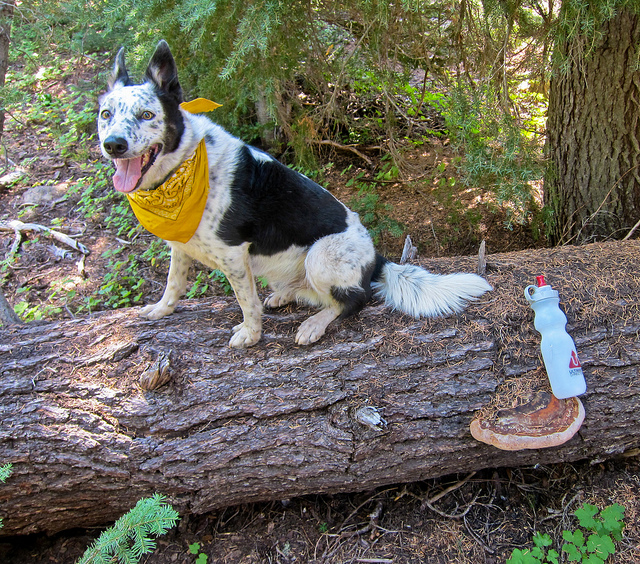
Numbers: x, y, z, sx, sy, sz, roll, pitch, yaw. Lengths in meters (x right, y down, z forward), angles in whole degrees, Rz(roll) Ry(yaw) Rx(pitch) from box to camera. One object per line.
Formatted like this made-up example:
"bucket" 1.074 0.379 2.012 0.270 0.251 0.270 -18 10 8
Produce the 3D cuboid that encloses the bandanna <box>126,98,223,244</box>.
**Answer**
"bandanna" -0.930 -0.555 3.723 0.558 0.630 0.276 -12 20 -8
